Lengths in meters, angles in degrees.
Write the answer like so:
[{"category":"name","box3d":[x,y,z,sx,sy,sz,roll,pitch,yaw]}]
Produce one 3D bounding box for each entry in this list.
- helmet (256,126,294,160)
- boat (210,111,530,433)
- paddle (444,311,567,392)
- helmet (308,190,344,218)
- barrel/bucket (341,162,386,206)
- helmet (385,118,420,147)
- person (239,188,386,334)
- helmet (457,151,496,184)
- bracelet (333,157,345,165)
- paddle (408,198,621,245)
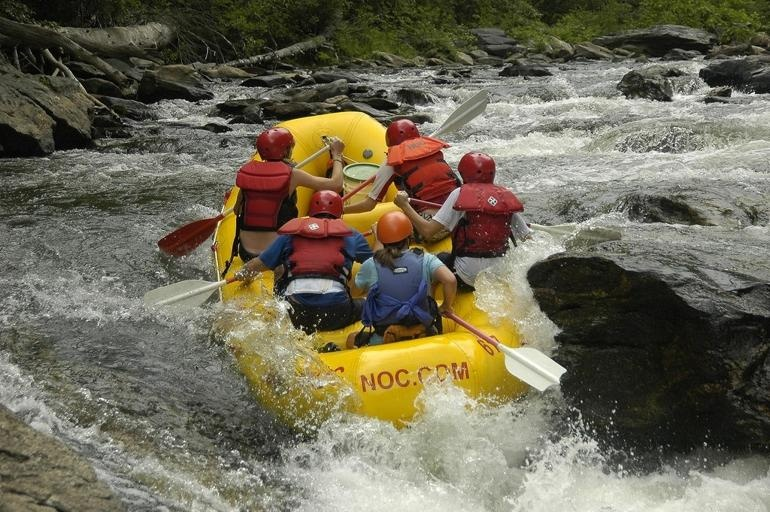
[{"category":"helmet","box3d":[-1.057,-1.064,6.438,0.432,0.310,0.326,-11,14,-39]},{"category":"boat","box3d":[-0.185,-0.106,6.311,2.190,0.763,3.222,-7,51,-10]},{"category":"paddle","box3d":[0.917,0.716,5.168,0.989,0.057,0.279,32,76,25]},{"category":"helmet","box3d":[-0.511,-0.445,5.822,0.285,0.203,0.194,-3,-5,-1]},{"category":"barrel/bucket","box3d":[-0.195,-0.772,7.160,0.457,0.462,0.435,0,28,0]},{"category":"helmet","box3d":[0.163,-1.240,6.773,0.261,0.293,0.330,-14,20,-10]},{"category":"person","box3d":[-0.578,0.153,5.801,1.463,1.338,0.779,5,-1,-15]},{"category":"helmet","box3d":[0.776,-0.747,5.738,0.242,0.279,0.307,2,37,-17]},{"category":"bracelet","box3d":[-0.470,-0.966,6.762,0.119,0.055,0.155,-1,10,-8]},{"category":"paddle","box3d":[1.192,-0.310,6.246,1.619,0.093,0.379,12,47,4]}]
